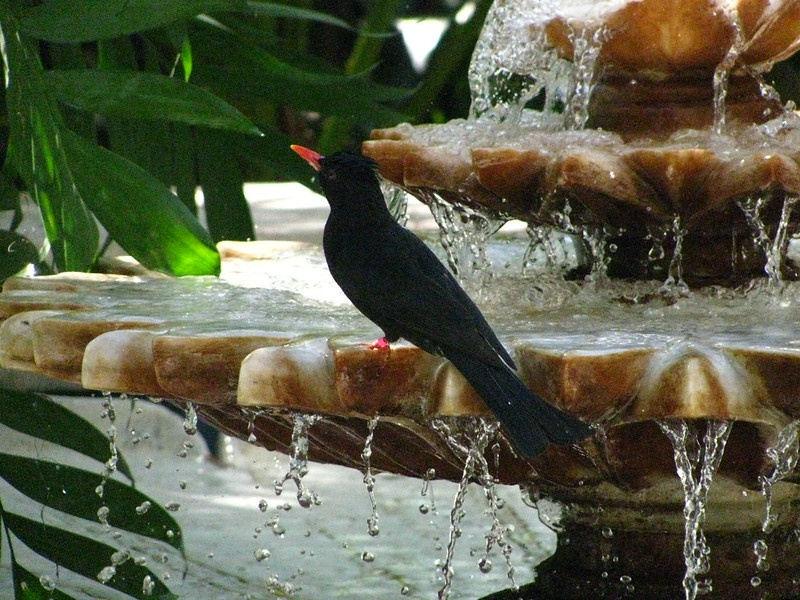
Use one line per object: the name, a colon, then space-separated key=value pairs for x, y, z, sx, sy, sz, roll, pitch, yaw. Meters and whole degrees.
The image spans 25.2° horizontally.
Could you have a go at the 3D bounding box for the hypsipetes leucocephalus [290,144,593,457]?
hypsipetes leucocephalus: x=0.112 y=-0.051 z=5.749 sx=1.304 sy=0.560 sz=0.390 roll=32 pitch=36 yaw=31
